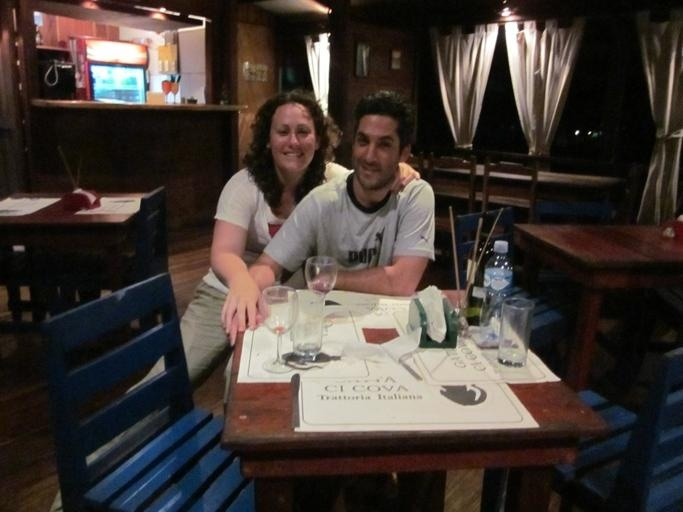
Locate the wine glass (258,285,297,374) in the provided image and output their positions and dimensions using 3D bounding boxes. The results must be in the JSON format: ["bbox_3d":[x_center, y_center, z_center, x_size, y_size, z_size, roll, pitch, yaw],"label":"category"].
[{"bbox_3d":[-0.208,0.251,1.698,0.145,0.336,0.159,2,16,5],"label":"wine glass"}]

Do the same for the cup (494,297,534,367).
[{"bbox_3d":[0.576,0.245,1.706,0.099,0.195,0.178,5,16,18],"label":"cup"}]
